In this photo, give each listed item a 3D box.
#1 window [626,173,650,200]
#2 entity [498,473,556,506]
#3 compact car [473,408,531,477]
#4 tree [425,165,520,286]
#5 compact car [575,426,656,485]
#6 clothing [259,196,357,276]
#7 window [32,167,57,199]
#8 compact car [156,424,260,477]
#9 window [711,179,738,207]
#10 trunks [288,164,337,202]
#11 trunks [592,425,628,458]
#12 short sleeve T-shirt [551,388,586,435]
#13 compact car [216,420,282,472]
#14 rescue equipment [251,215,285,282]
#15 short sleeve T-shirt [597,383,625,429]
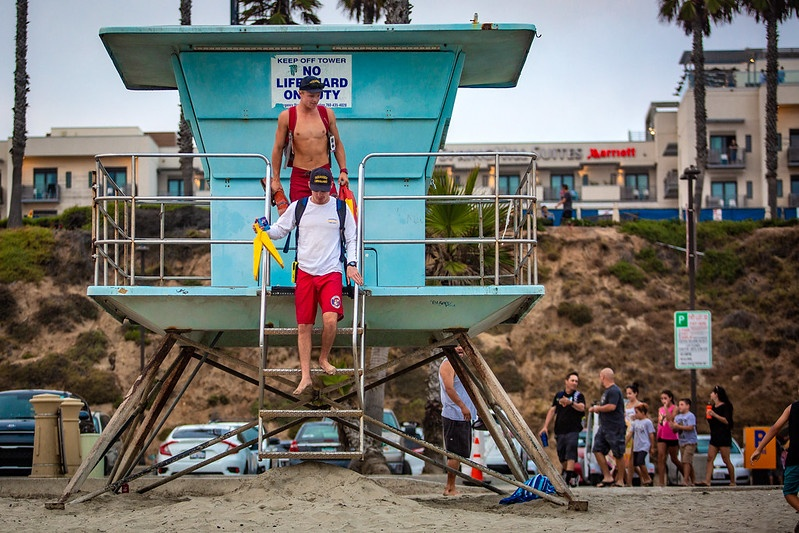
[{"bbox_3d":[15.671,-5.143,113.694,1.880,2.335,0.158,1,-32,4],"label":"window"},{"bbox_3d":[5.102,9.001,68.798,1.624,0.572,1.331,-9,1,-11],"label":"entity"},{"bbox_3d":[4.578,8.371,77.951,2.262,2.228,3.959,-1,4,7],"label":"compact car"},{"bbox_3d":[3.010,-1.551,72.598,4.966,2.691,5.147,-12,10,-20],"label":"tree"},{"bbox_3d":[9.125,8.594,78.121,2.288,2.341,3.922,0,-8,1],"label":"compact car"},{"bbox_3d":[-3.042,-1.289,68.985,2.643,3.093,3.315,-1,-3,8],"label":"clothing"},{"bbox_3d":[-22.895,-5.395,111.624,1.867,2.642,0.261,0,-1,0],"label":"window"},{"bbox_3d":[-8.477,8.549,77.706,2.442,1.910,5.473,0,-2,3],"label":"compact car"},{"bbox_3d":[20.548,-4.576,109.360,1.654,2.088,0.166,1,-14,4],"label":"window"},{"bbox_3d":[-3.635,-3.180,68.872,1.781,2.535,1.305,1,-1,-9],"label":"trunks"},{"bbox_3d":[8.840,7.406,72.304,1.723,1.767,1.072,-2,-15,28],"label":"trunks"},{"bbox_3d":[7.076,6.210,72.416,1.583,2.069,1.049,0,-2,42],"label":"short sleeve T-shirt"},{"bbox_3d":[-6.142,8.379,78.694,1.436,1.455,3.275,-1,18,-33],"label":"compact car"},{"bbox_3d":[-5.242,-0.621,67.884,1.011,2.089,0.991,0,0,-6],"label":"rescue equipment"},{"bbox_3d":[8.885,5.924,72.459,1.100,2.010,1.684,1,-4,-9],"label":"short sleeve T-shirt"}]
